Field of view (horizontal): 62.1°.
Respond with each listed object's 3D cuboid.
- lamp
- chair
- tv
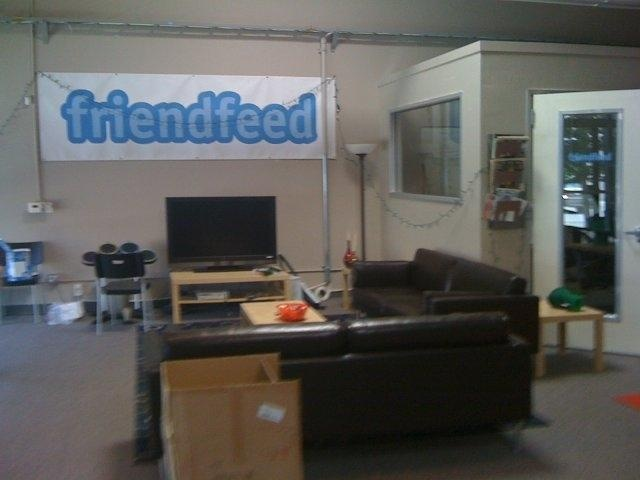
[{"bbox_3d":[0.566,-0.495,7.058,0.376,1.572,0.494,-2,5,9],"label":"lamp"},{"bbox_3d":[-2.214,0.524,6.117,0.717,0.831,0.680,-4,12,-32],"label":"chair"},{"bbox_3d":[-1.234,-0.085,6.556,1.030,0.669,0.286,-1,-2,-8],"label":"tv"}]
